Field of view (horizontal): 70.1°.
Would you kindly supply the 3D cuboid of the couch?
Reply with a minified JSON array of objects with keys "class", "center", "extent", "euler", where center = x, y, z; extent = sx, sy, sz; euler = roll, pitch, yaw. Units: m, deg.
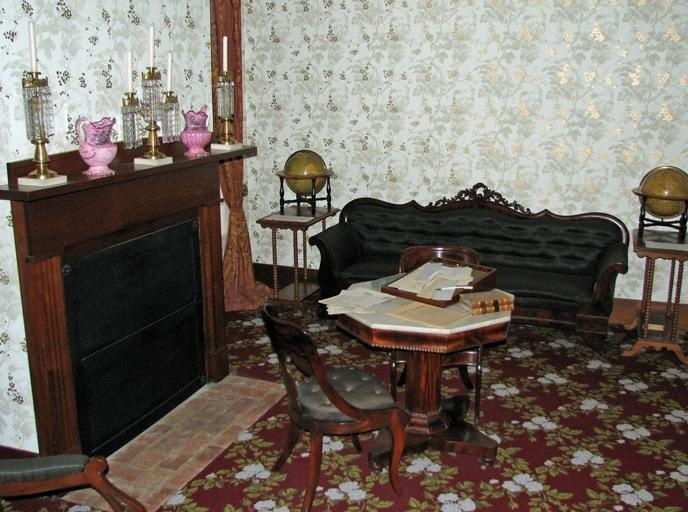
[{"class":"couch","center":[1.931,-0.164,6.514],"extent":[4.833,1.352,1.705],"euler":[6,12,13]}]

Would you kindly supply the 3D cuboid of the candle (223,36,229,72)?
[{"class":"candle","center":[-0.910,-1.527,3.744],"extent":[0.025,0.242,0.147],"euler":[-7,16,-23]}]

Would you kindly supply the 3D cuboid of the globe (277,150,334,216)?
[{"class":"globe","center":[-0.390,-0.849,5.525],"extent":[0.744,0.688,0.512],"euler":[10,18,22]}]

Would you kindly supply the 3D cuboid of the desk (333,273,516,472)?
[{"class":"desk","center":[0.464,0.712,3.192],"extent":[1.078,1.148,0.864],"euler":[-4,15,-21]}]

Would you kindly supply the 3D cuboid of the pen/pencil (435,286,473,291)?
[{"class":"pen/pencil","center":[0.680,0.195,2.982],"extent":[0.194,0.013,0.023],"euler":[-2,21,-1]}]
